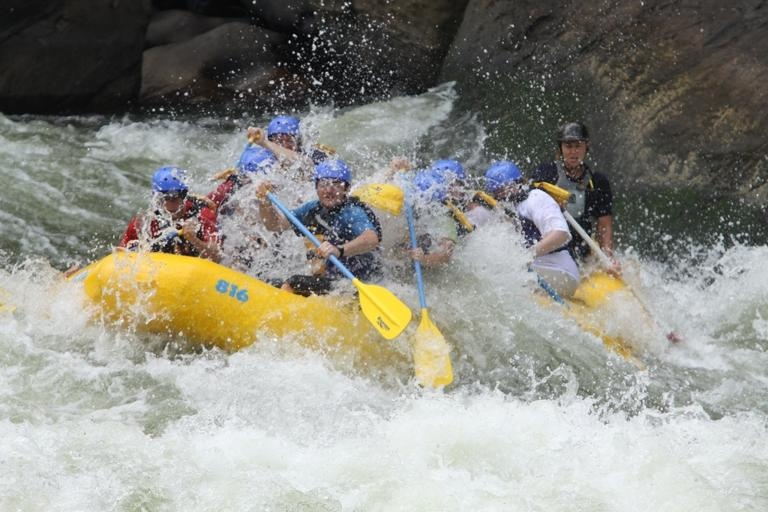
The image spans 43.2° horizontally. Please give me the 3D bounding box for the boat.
[{"bbox_3d":[-0.203,0.485,9.653,4.772,0.802,2.467,15,32,-23],"label":"boat"}]

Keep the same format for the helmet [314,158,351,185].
[{"bbox_3d":[-0.519,-0.855,9.778,0.279,0.167,0.271,9,0,17],"label":"helmet"}]

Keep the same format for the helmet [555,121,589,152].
[{"bbox_3d":[2.072,-1.341,10.771,0.261,0.257,0.334,1,14,5],"label":"helmet"}]

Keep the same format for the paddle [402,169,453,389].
[{"bbox_3d":[0.350,0.323,9.252,0.312,1.895,0.078,4,33,30],"label":"paddle"}]

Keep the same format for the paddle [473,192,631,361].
[{"bbox_3d":[1.691,0.424,10.405,2.063,0.359,1.179,46,14,12],"label":"paddle"}]

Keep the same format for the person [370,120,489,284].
[{"bbox_3d":[0.512,-0.555,10.861,1.417,0.590,1.918,4,79,-7],"label":"person"}]

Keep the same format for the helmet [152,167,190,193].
[{"bbox_3d":[-2.206,-0.725,9.977,0.247,0.326,0.291,-5,67,-12],"label":"helmet"}]
